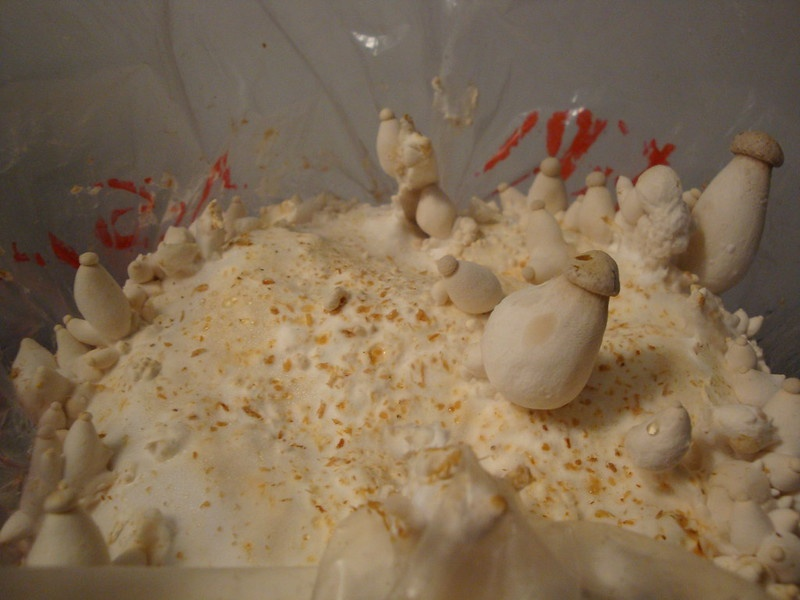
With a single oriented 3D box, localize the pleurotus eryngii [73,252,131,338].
[{"bbox_3d":[-1.136,0.008,3.873,0.186,0.338,0.109,-25,30,-7],"label":"pleurotus eryngii"}]
